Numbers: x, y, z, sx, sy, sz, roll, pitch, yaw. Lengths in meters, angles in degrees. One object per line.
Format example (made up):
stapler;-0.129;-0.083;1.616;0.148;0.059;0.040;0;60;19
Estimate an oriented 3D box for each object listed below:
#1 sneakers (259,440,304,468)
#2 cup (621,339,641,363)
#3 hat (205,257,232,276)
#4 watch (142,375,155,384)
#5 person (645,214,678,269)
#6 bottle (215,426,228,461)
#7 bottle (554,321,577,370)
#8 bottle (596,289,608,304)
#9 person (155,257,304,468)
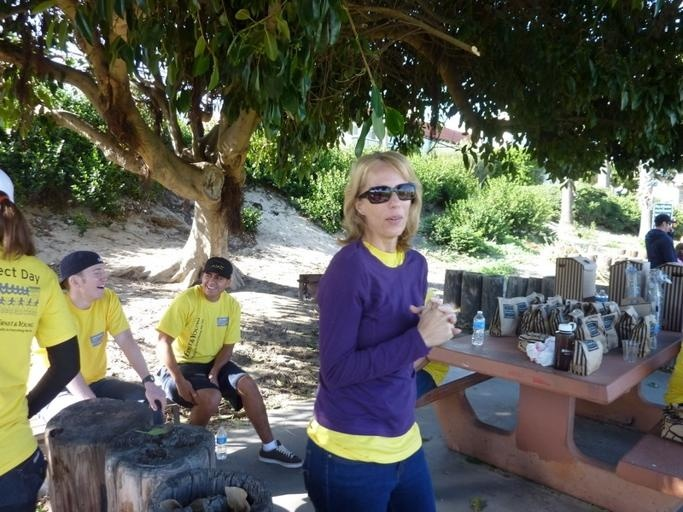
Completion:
sneakers;-0.545;1.787;5.153;0.430;0.233;0.171;8;8;12
cup;2.310;0.758;4.589;0.139;0.173;0.148;1;5;0
hat;-1.148;0.139;5.495;0.234;0.174;0.362;9;-7;3
watch;-1.590;1.019;4.661;0.082;0.041;0.103;-9;22;5
person;5.505;-0.309;9.798;0.501;0.979;2.811;4;1;28
bottle;-1.094;1.662;5.202;0.094;0.321;0.372;2;1;-11
bottle;1.684;0.690;4.310;0.138;0.322;0.167;3;2;21
bottle;2.930;0.464;6.434;0.167;0.087;0.120;-5;12;-41
person;-1.191;0.913;5.326;1.131;1.785;0.791;3;1;-10
